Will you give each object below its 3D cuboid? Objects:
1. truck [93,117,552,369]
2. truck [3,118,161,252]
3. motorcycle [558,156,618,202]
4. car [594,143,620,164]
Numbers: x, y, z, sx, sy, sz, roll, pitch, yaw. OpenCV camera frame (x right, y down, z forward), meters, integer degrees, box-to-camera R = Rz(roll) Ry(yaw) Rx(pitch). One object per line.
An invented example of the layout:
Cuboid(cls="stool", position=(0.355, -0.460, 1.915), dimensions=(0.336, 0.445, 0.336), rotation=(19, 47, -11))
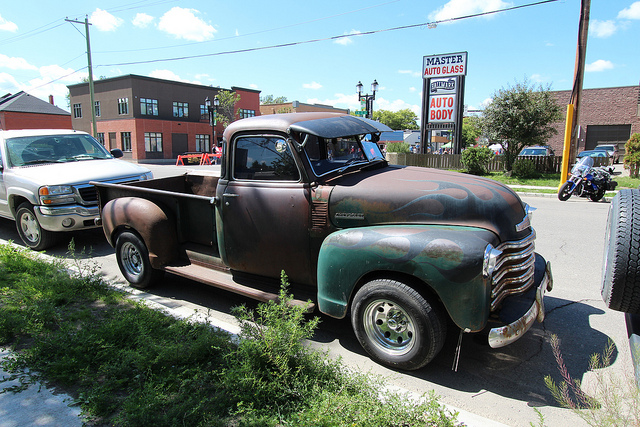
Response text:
Cuboid(cls="truck", position=(-0.178, 0.137, 6.244), dimensions=(6.793, 2.670, 3.073), rotation=(6, 16, 27))
Cuboid(cls="truck", position=(-5.448, -0.785, 8.681), dimensions=(4.444, 1.936, 2.342), rotation=(8, 14, 37))
Cuboid(cls="motorcycle", position=(9.782, -1.231, 14.022), dimensions=(2.664, 1.554, 1.104), rotation=(-2, 20, -26))
Cuboid(cls="car", position=(27.982, -5.982, 37.262), dimensions=(2.454, 2.241, 5.405), rotation=(0, 7, 35))
